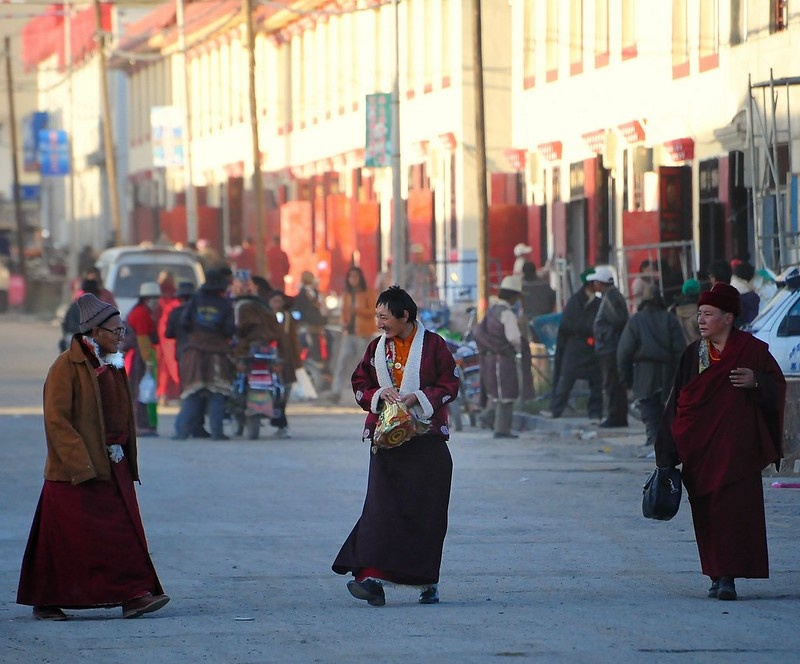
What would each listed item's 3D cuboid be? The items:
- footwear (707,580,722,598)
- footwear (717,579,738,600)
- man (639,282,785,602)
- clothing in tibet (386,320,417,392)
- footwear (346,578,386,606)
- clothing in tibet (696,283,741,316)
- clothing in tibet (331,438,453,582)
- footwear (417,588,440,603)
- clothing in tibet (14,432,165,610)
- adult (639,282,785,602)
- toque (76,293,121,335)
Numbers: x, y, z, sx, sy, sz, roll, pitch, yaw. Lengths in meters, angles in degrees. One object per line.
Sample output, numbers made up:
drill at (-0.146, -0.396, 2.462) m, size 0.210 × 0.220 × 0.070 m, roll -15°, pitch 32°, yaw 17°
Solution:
footwear at (2.404, 1.990, 17.601) m, size 0.093 × 0.123 × 0.291 m, roll 1°, pitch 6°, yaw 10°
footwear at (2.492, 1.986, 17.563) m, size 0.174 × 0.153 × 0.150 m, roll -2°, pitch 1°, yaw -10°
man at (2.473, 0.758, 17.722) m, size 0.960 × 2.253 × 0.473 m, roll -1°, pitch 1°, yaw 8°
clothing in tibet at (-0.003, 0.180, 17.806) m, size 0.109 × 0.478 × 0.254 m, roll 8°, pitch -5°, yaw -39°
footwear at (-0.269, 2.007, 17.576) m, size 0.300 × 0.209 × 0.237 m, roll -1°, pitch 1°, yaw -7°
clothing in tibet at (2.466, -0.250, 17.752) m, size 0.268 × 0.232 × 0.257 m, roll 8°, pitch -2°, yaw -36°
clothing in tibet at (-0.053, 1.458, 18.134) m, size 0.886 × 1.162 × 0.650 m, roll 1°, pitch -22°, yaw 26°
footwear at (0.211, 2.031, 17.601) m, size 0.163 × 0.125 × 0.196 m, roll -1°, pitch 1°, yaw -4°
clothing in tibet at (-2.286, 1.453, 17.501) m, size 1.148 × 1.388 × 0.910 m, roll 0°, pitch -5°, yaw -5°
adult at (2.473, 0.758, 17.722) m, size 0.960 × 2.253 × 0.473 m, roll -1°, pitch 1°, yaw 8°
toque at (-2.339, -0.167, 17.411) m, size 0.286 × 0.250 × 0.303 m, roll -5°, pitch 27°, yaw 29°
